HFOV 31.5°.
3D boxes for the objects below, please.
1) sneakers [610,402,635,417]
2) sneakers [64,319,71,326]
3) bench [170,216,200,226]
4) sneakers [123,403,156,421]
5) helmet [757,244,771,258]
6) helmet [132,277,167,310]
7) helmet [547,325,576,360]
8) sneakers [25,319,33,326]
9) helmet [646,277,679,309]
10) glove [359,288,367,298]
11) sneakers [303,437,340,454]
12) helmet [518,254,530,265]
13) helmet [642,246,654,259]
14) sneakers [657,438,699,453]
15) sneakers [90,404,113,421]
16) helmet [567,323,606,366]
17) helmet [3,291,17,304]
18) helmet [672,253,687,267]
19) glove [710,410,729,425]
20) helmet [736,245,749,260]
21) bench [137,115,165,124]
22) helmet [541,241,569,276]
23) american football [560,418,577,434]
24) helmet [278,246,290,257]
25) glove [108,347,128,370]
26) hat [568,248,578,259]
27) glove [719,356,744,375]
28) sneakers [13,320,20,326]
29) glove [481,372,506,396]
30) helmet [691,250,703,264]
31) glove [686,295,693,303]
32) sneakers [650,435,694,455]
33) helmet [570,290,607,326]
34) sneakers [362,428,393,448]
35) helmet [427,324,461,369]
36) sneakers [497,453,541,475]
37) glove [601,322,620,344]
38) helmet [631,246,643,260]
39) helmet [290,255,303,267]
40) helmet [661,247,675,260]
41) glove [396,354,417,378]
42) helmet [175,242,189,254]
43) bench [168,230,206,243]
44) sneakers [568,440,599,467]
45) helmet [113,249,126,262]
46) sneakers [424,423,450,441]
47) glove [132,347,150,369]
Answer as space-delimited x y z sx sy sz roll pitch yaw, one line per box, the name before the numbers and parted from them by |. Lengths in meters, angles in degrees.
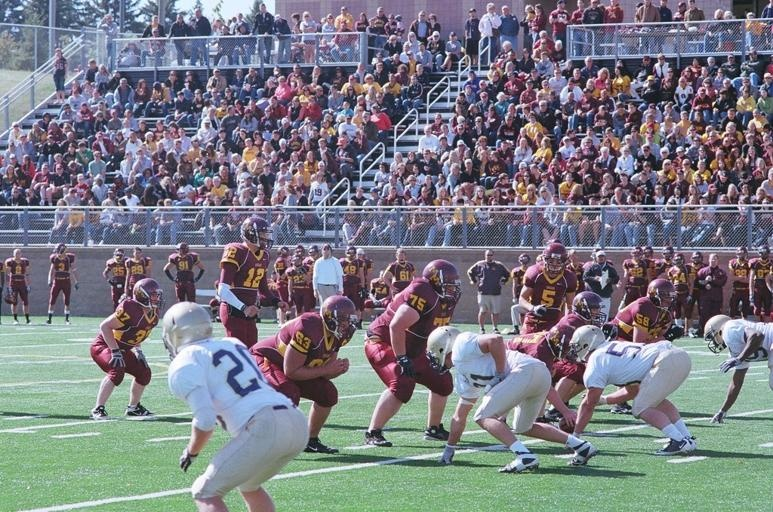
sneakers | 3.816 2.491 22.347 0.408 0.234 0.169 0 1 0
sneakers | -7.547 1.588 32.464 0.170 0.194 0.078 12 -17 -27
bench | -4.868 -0.808 33.421 0.714 0.290 0.086 2 0 15
sneakers | -3.982 2.482 21.944 0.532 0.254 0.190 3 0 -4
helmet | 7.983 -0.092 29.109 0.190 0.242 0.234 5 21 3
helmet | -3.842 0.598 22.131 0.471 0.445 0.376 4 3 0
helmet | 2.581 1.290 20.429 0.443 0.480 0.358 -18 14 -30
sneakers | -8.510 1.573 32.572 0.212 0.223 0.101 -8 -11 40
helmet | 4.330 0.564 21.650 0.403 0.386 0.383 17 14 16
glove | -0.534 0.844 30.987 0.138 0.207 0.066 6 -14 -2
sneakers | -1.019 2.840 20.555 0.618 0.307 0.231 1 -1 4
helmet | 2.957 0.076 29.536 0.187 0.223 0.259 2 -11 -7
helmet | 5.620 -0.055 29.526 0.191 0.242 0.242 6 27 -3
sneakers | 4.281 2.780 20.256 0.580 0.276 0.225 -2 -4 0
sneakers | -4.575 2.486 21.868 0.275 0.224 0.314 2 0 -15
helmet | 2.952 1.241 20.221 0.604 0.542 0.453 2 8 16
helmet | -8.808 0.985 32.085 0.247 0.275 0.380 2 0 -18
helmet | 6.266 0.088 29.422 0.209 0.257 0.278 -4 18 -33
glove | 5.190 2.525 21.506 0.121 0.159 0.346 7 11 22
helmet | 7.600 -0.055 29.343 0.254 0.288 0.352 2 0 15
bench | -6.461 -3.673 37.496 0.893 0.169 0.250 4 -13 -6
helmet | 2.721 0.113 22.262 0.358 0.433 0.501 9 -13 -3
american football | 2.623 2.440 19.928 0.191 0.208 0.202 3 6 27
helmet | -2.336 -0.102 31.310 0.232 0.256 0.191 -13 15 -23
glove | -4.275 1.630 21.774 0.238 0.297 0.141 2 0 -19
hat | 3.933 -0.035 29.142 0.168 0.215 0.223 -13 -8 -30
glove | 5.309 1.686 21.265 0.308 0.201 0.117 -35 -15 -15
sneakers | -8.760 1.572 32.382 0.090 0.119 0.277 1 -7 -28
glove | 1.527 1.787 19.647 0.111 0.328 0.244 27 6 11
helmet | 6.653 0.045 29.455 0.193 0.243 0.257 0 -9 8
glove | 6.483 0.932 29.393 0.104 0.159 0.055 5 -14 4
sneakers | 4.195 2.778 20.233 0.608 0.310 0.233 -3 -5 1
helmet | 3.063 0.764 20.949 0.554 0.518 0.423 3 16 9
sneakers | -0.173 2.725 20.581 0.493 0.237 0.182 0 -1 20
helmet | 0.780 1.334 20.139 0.543 0.582 0.456 -7 -14 -6
sneakers | 1.877 2.953 19.604 0.606 0.309 0.233 -4 -4 -1
glove | 3.496 1.179 21.403 0.254 0.339 0.360 24 3 19
helmet | 5.349 -0.039 29.428 0.180 0.226 0.252 4 -14 13
helmet | -2.027 0.120 30.906 0.234 0.253 0.244 2 0 -11
helmet | 6.027 -0.061 29.481 0.238 0.263 0.200 9 -12 -3
glove | 0.273 1.632 20.397 0.266 0.311 0.095 2 0 -1
helmet | -4.815 -0.178 32.162 0.215 0.292 0.257 2 1 -3
bench | -4.826 -0.442 33.450 1.034 0.351 0.189 2 0 21
sneakers | 2.833 2.848 19.832 0.244 0.210 0.542 17 -31 5
helmet | -6.236 -0.011 31.923 0.219 0.253 0.289 3 -10 -8
sneakers | 0.746 2.687 20.920 0.417 0.225 0.172 1 1 -1
glove | -3.948 1.601 21.977 0.245 0.464 0.134 -15 -2 9
